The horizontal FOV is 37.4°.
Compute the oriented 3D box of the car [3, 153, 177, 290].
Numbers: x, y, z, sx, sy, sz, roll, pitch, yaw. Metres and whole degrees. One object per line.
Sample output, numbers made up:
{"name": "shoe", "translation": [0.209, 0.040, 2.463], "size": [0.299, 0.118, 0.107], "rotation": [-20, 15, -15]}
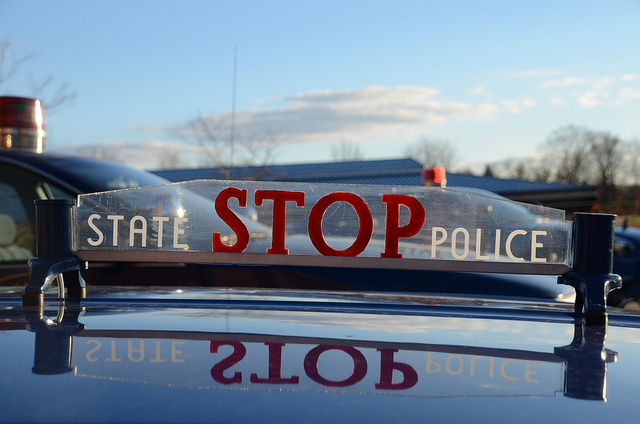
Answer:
{"name": "car", "translation": [-1.677, 0.019, 6.016], "size": [1.633, 0.650, 0.892], "rotation": [-2, 1, -6]}
